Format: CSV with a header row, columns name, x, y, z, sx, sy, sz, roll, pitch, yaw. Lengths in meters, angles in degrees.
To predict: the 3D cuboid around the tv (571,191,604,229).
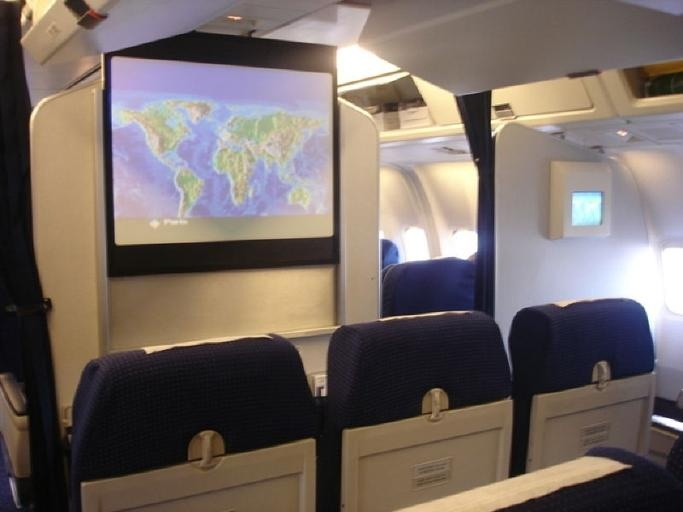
name,x,y,z,sx,sy,sz,roll,pitch,yaw
tv,2.180,-0.416,5.083,0.494,0.306,0.030,-2,2,-37
